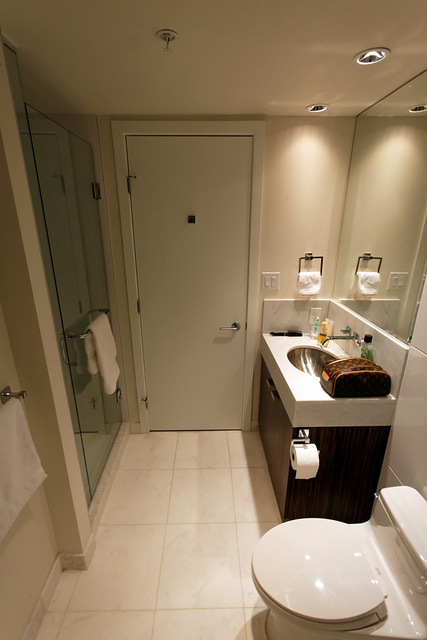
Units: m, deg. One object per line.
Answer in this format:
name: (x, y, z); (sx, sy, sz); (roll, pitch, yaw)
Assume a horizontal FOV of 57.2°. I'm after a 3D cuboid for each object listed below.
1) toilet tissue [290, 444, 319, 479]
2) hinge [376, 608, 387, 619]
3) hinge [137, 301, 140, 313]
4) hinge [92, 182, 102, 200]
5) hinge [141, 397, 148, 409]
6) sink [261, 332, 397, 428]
toilet tissue: (0.380, 0.589, 1.649); (0.087, 0.173, 0.133); (0, -4, -3)
hinge: (0.510, 0.899, 1.198); (0.023, 0.023, 0.027); (-8, 12, 0)
hinge: (-0.460, -0.077, 2.413); (0.013, 0.069, 0.004); (-11, 21, -33)
hinge: (-0.639, -0.703, 2.151); (0.016, 0.084, 0.061); (9, 21, 25)
hinge: (-0.463, 0.559, 2.632); (0.053, 0.077, 0.017); (5, -4, -4)
sink: (0.538, 0.289, 2.044); (0.433, 0.212, 0.800); (0, 22, -4)
